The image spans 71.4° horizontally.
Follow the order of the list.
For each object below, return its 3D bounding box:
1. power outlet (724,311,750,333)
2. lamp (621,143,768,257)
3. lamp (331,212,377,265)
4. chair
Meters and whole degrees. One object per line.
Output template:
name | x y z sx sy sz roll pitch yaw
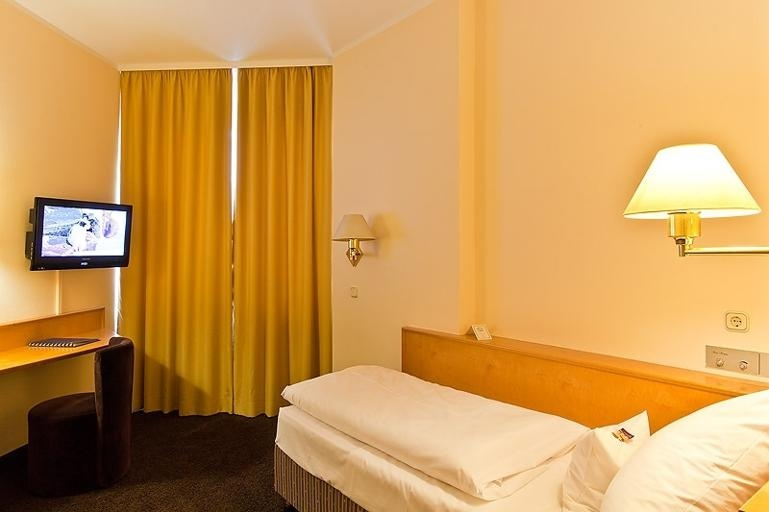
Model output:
power outlet | 2.016 0.372 3.046 0.013 0.132 0.120 -2 -1 -41
lamp | 1.597 -0.274 2.881 0.662 0.548 0.585 1 -1 23
lamp | -0.258 -0.119 4.494 0.390 0.409 0.366 4 -9 -43
chair | -2.236 1.142 4.317 0.913 1.339 1.057 3 -5 -27
